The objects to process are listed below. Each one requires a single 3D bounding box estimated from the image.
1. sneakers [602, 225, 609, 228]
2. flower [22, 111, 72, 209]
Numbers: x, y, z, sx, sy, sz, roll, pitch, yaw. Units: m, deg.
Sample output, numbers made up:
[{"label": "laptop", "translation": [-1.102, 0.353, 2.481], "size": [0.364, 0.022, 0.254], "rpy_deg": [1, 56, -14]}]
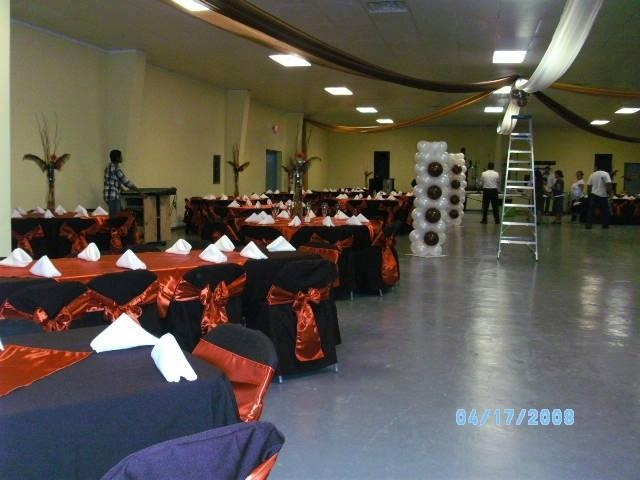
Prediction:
[{"label": "sneakers", "translation": [8.522, -0.376, 12.881], "size": [0.146, 0.101, 0.076], "rpy_deg": [-2, -11, 11]}, {"label": "flower", "translation": [-4.092, -1.164, 6.638], "size": [0.515, 0.927, 0.449], "rpy_deg": [-6, 8, -21]}]
